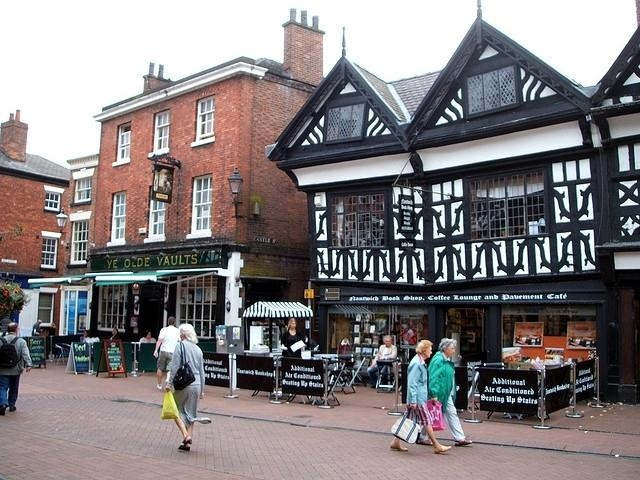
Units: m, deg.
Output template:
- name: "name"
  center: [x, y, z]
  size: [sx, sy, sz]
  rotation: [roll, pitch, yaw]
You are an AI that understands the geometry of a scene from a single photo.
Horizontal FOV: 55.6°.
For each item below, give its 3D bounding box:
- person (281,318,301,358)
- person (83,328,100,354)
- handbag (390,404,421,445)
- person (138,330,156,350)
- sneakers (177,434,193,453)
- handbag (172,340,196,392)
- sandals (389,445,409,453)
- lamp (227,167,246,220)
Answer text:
- name: "person"
  center: [-0.761, 2.599, 16.077]
  size: [0.484, 0.990, 0.662]
  rotation: [1, -5, -4]
- name: "person"
  center: [-8.847, 3.923, 23.499]
  size: [0.456, 0.808, 0.823]
  rotation: [-7, -8, 27]
- name: "handbag"
  center: [1.509, 3.270, 10.682]
  size: [0.493, 0.515, 0.257]
  rotation: [0, -5, 10]
- name: "person"
  center: [-6.730, 3.885, 23.561]
  size: [0.639, 1.097, 0.576]
  rotation: [5, -10, -28]
- name: "sneakers"
  center: [-2.281, 3.468, 10.301]
  size: [0.143, 0.178, 0.434]
  rotation: [3, -7, -15]
- name: "handbag"
  center: [-2.328, 2.183, 10.382]
  size: [0.482, 0.838, 0.201]
  rotation: [-31, -37, 15]
- name: "sandals"
  center: [1.396, 3.720, 10.812]
  size: [0.319, 0.156, 0.110]
  rotation: [0, 0, 0]
- name: "lamp"
  center: [-3.097, -1.737, 22.325]
  size: [0.527, 1.848, 1.201]
  rotation: [1, -5, -7]
